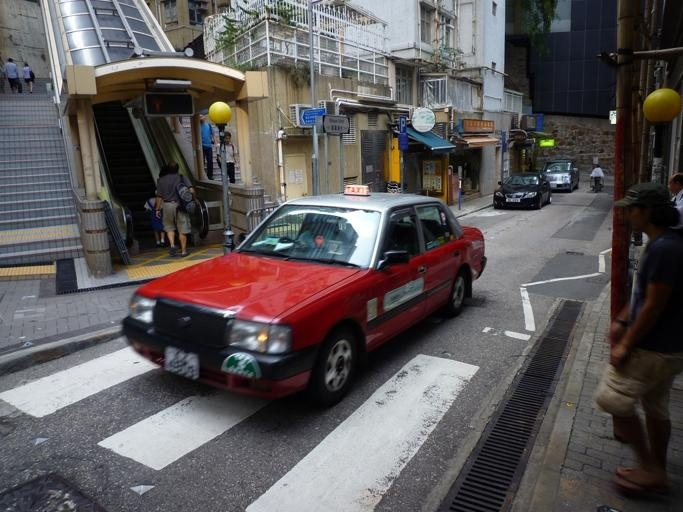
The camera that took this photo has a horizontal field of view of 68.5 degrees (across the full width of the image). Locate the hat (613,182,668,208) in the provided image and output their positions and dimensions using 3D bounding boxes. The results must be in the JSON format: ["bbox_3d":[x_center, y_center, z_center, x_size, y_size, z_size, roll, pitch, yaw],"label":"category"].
[{"bbox_3d":[2.425,-0.482,4.023,0.272,0.157,0.204,10,18,33],"label":"hat"}]

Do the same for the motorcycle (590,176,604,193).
[{"bbox_3d":[14.610,-4.118,29.172,0.685,1.107,1.713,2,8,38],"label":"motorcycle"}]

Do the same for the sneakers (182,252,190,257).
[{"bbox_3d":[-3.640,-0.018,11.816,0.054,0.082,0.178,3,16,15],"label":"sneakers"}]

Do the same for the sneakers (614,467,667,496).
[{"bbox_3d":[2.501,1.869,4.215,0.329,0.164,0.206,4,-4,7],"label":"sneakers"}]

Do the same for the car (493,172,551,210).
[{"bbox_3d":[8.293,-2.924,23.007,1.998,1.468,2.616,11,18,36],"label":"car"}]
